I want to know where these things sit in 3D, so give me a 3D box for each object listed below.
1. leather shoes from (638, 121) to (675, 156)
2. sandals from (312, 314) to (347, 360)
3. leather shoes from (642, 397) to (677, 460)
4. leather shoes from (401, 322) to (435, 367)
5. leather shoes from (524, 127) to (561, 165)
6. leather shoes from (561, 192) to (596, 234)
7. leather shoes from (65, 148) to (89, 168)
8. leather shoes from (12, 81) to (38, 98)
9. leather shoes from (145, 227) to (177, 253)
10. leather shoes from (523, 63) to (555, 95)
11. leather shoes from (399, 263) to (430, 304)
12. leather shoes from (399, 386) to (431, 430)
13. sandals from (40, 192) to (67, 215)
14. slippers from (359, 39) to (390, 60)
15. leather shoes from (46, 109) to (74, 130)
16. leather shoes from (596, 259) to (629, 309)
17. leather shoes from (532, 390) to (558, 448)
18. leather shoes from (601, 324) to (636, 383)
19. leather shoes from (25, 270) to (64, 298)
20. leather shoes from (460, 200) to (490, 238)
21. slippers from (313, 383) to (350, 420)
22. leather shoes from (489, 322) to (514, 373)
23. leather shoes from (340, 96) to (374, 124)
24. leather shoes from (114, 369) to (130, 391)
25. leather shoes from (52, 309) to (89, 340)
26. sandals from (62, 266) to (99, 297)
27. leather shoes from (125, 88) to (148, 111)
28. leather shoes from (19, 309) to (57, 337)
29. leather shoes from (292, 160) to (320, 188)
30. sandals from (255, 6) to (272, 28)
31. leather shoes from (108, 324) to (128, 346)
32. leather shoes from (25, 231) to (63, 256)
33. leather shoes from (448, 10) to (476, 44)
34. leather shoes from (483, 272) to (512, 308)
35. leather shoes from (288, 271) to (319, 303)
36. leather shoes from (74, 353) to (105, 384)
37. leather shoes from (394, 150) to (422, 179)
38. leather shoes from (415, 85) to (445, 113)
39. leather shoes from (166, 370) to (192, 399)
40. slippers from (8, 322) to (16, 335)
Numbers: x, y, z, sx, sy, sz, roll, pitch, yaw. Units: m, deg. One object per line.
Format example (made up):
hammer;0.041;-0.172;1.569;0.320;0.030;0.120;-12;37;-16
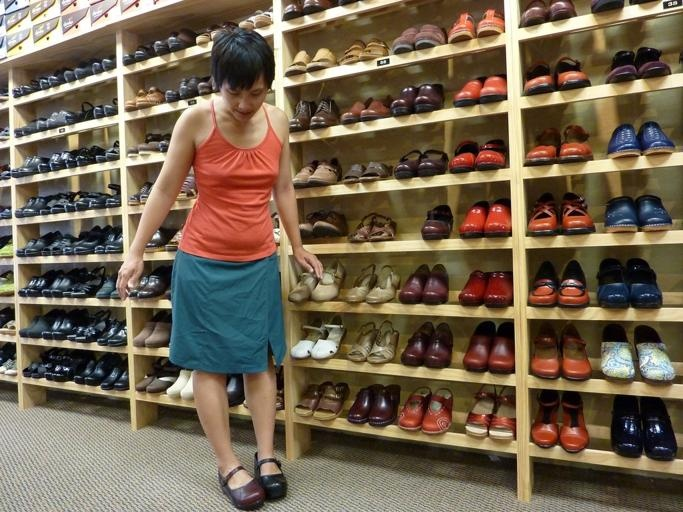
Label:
leather shoes;1.379;-0.513;2.234;0.120;0.148;0.134;1;6;20
sandals;-0.077;0.449;2.772;0.127;0.101;0.344;1;20;17
leather shoes;1.405;0.741;2.302;0.119;0.086;0.325;-8;29;17
leather shoes;0.390;0.449;2.643;0.101;0.105;0.276;1;24;28
leather shoes;0.956;-0.506;2.391;0.116;0.131;0.336;2;15;29
leather shoes;1.056;-0.187;2.343;0.109;0.112;0.293;-4;15;9
leather shoes;-1.822;-0.662;3.482;0.141;0.136;0.295;-4;7;-25
leather shoes;-2.272;-1.183;3.661;0.188;0.067;0.138;-24;16;-27
leather shoes;-1.128;-0.103;3.234;0.094;0.107;0.279;-5;10;21
leather shoes;0.906;-0.804;2.357;0.103;0.103;0.267;-6;29;17
leather shoes;0.390;0.142;2.671;0.121;0.126;0.363;2;14;24
leather shoes;0.378;0.778;2.626;0.093;0.091;0.261;-1;13;22
sandals;-2.032;-0.353;3.604;0.121;0.117;0.329;1;8;-6
slippers;0.166;-1.040;2.607;0.096;0.067;0.145;-1;12;11
leather shoes;-1.922;-0.923;3.482;0.203;0.077;0.124;8;29;35
leather shoes;1.225;0.124;2.352;0.106;0.113;0.297;-3;23;18
leather shoes;0.945;0.766;2.409;0.095;0.118;0.305;0;36;19
leather shoes;1.275;0.429;2.371;0.127;0.102;0.352;-4;23;25
leather shoes;-2.119;0.194;3.679;0.157;0.106;0.278;-3;13;28
leather shoes;0.677;-0.177;2.532;0.097;0.109;0.282;-1;20;26
slippers;-0.055;0.775;2.767;0.129;0.110;0.354;3;12;13
leather shoes;0.793;0.465;2.518;0.136;0.129;0.403;3;10;18
leather shoes;0.085;-0.781;2.734;0.095;0.105;0.267;1;28;36
leather shoes;-1.396;0.796;3.246;0.058;0.060;0.156;2;7;3
leather shoes;-1.881;0.468;3.543;0.094;0.097;0.252;-4;18;16
sandals;-1.776;0.182;3.520;0.148;0.094;0.268;1;18;17
leather shoes;-1.280;-0.972;3.178;0.210;0.092;0.094;8;18;39
leather shoes;-2.142;0.480;3.632;0.128;0.080;0.228;-6;22;35
leather shoes;-0.198;-0.440;2.790;0.077;0.086;0.224;14;26;13
sandals;-0.438;-1.322;2.854;0.056;0.055;0.144;-2;18;0
leather shoes;-1.412;0.516;3.263;0.078;0.069;0.168;2;6;12
leather shoes;-2.121;-0.101;3.661;0.150;0.091;0.267;0;27;29
leather shoes;0.578;-1.090;2.445;0.126;0.148;0.120;0;6;13
leather shoes;0.756;0.164;2.451;0.129;0.153;0.187;1;6;19
leather shoes;-0.203;0.160;2.782;0.084;0.095;0.248;8;24;20
leather shoes;-1.708;0.769;3.454;0.087;0.103;0.266;4;7;11
leather shoes;0.336;-0.469;2.657;0.106;0.109;0.283;2;17;21
leather shoes;0.433;-0.780;2.546;0.128;0.154;0.180;1;6;17
leather shoes;-0.959;0.758;3.028;0.089;0.101;0.241;3;3;12
slippers;-2.436;0.525;3.755;0.150;0.057;0.055;1;2;44
